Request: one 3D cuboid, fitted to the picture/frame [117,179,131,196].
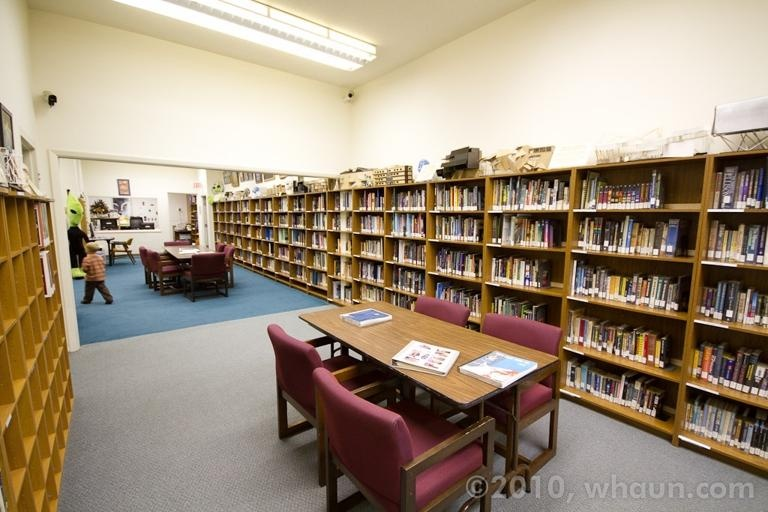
[{"bbox_3d":[-7.481,-2.017,14.509,0.043,0.609,0.456,4,6,41],"label":"picture/frame"}]

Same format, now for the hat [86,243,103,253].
[{"bbox_3d":[-4.746,-0.135,8.239,0.190,0.191,0.307,-8,14,-35],"label":"hat"}]

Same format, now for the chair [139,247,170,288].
[{"bbox_3d":[-4.109,0.195,9.380,0.624,0.695,0.651,-1,14,-17],"label":"chair"}]

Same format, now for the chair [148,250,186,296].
[{"bbox_3d":[-4.087,0.246,9.522,0.559,0.806,1.133,-8,12,-32],"label":"chair"}]

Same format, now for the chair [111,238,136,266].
[{"bbox_3d":[-7.077,-0.185,13.517,0.829,0.994,0.965,0,2,-26],"label":"chair"}]

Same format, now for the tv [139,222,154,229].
[{"bbox_3d":[-6.993,-0.915,14.991,0.077,0.245,0.470,6,13,28],"label":"tv"}]

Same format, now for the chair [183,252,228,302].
[{"bbox_3d":[-3.149,0.298,8.909,0.690,0.851,0.746,-8,12,-40],"label":"chair"}]

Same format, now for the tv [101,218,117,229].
[{"bbox_3d":[-7.678,-0.895,14.168,0.277,0.415,0.422,1,3,38],"label":"tv"}]

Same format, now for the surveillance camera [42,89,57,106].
[{"bbox_3d":[-4.214,-2.016,6.392,0.166,0.186,0.129,-8,14,-33],"label":"surveillance camera"}]

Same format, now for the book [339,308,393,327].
[{"bbox_3d":[-0.181,0.630,5.213,0.468,0.061,0.398,-8,14,-36],"label":"book"}]

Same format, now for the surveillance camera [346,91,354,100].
[{"bbox_3d":[-0.573,-2.794,8.664,0.156,0.119,0.214,-8,-2,-13],"label":"surveillance camera"}]

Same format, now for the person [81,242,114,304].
[{"bbox_3d":[-4.903,0.249,8.568,0.447,1.069,0.959,-7,13,-29],"label":"person"}]
